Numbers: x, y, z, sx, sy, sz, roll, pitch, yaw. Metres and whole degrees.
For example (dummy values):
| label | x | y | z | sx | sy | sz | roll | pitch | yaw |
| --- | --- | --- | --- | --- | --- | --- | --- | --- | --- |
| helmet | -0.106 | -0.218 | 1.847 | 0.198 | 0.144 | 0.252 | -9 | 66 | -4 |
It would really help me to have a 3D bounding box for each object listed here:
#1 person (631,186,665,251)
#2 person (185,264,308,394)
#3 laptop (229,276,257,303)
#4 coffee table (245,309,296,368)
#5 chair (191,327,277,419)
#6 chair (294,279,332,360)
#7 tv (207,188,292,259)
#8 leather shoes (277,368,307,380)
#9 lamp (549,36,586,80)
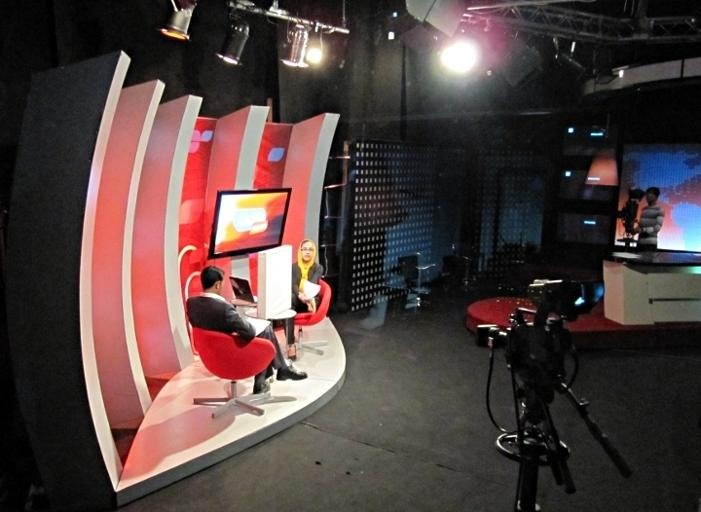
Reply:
| label | x | y | z | sx | sy | sz | roll | pitch | yaw |
| --- | --- | --- | --- | --- | --- | --- | --- | --- | --- |
| person | 4.537 | -0.570 | 7.931 | 0.362 | 0.960 | 0.427 | 3 | 6 | 30 |
| person | -1.064 | 0.807 | 5.602 | 0.663 | 1.589 | 1.262 | 9 | 15 | 42 |
| laptop | -1.193 | 0.360 | 5.676 | 0.307 | 0.260 | 0.251 | 10 | 16 | 35 |
| coffee table | -0.831 | 1.029 | 5.827 | 0.449 | 0.419 | 0.400 | 11 | 47 | -15 |
| chair | -1.237 | 1.078 | 5.413 | 0.908 | 0.975 | 0.848 | 6 | 9 | 37 |
| chair | -0.608 | 0.738 | 6.883 | 0.618 | 1.077 | 0.832 | 4 | 15 | 1 |
| tv | -1.305 | -0.457 | 6.913 | 0.288 | 0.909 | 1.286 | 4 | 6 | 37 |
| leather shoes | -0.691 | 1.348 | 5.990 | 0.383 | 0.184 | 0.135 | 0 | 1 | -5 |
| lamp | 3.501 | -3.103 | 8.323 | 0.271 | 0.573 | 1.377 | 23 | 15 | 21 |
